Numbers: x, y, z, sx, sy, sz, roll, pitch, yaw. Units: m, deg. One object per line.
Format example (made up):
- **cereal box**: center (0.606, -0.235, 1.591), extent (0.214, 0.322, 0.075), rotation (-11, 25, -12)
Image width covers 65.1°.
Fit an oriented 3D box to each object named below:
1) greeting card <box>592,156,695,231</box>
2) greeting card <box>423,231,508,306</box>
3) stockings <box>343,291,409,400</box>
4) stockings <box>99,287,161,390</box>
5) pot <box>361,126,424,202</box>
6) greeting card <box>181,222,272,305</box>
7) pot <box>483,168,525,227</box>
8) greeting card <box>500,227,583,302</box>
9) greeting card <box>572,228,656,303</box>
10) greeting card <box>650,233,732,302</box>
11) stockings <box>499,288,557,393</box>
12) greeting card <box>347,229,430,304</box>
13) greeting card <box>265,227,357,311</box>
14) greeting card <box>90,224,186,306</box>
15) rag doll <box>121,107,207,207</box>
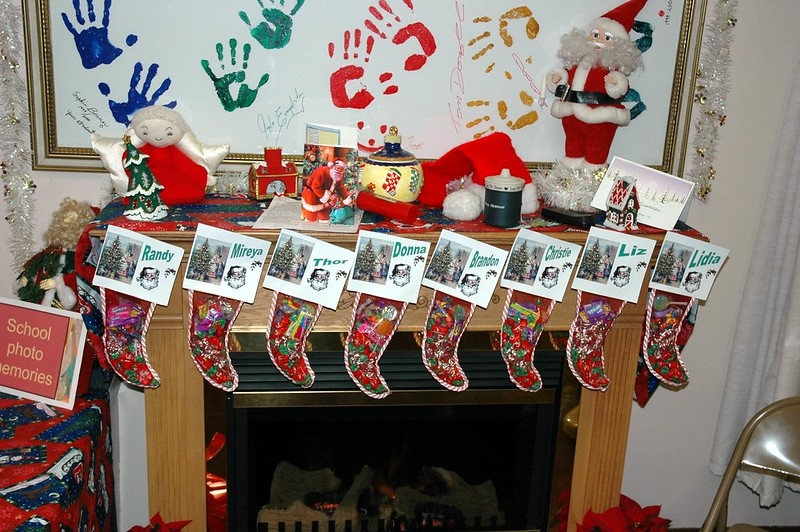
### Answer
- **greeting card**: center (0.836, -0.214, 2.125), extent (0.326, 0.218, 0.014), rotation (10, -4, -22)
- **greeting card**: center (0.212, -0.003, 2.054), extent (0.213, 0.176, 0.018), rotation (16, 14, -17)
- **stockings**: center (-0.087, 0.265, 2.106), extent (0.192, 0.326, 0.094), rotation (3, -1, -6)
- **stockings**: center (-0.872, 0.244, 2.048), extent (0.207, 0.030, 0.374), rotation (8, 42, -31)
- **pot**: center (-0.045, -0.356, 2.225), extent (0.221, 0.288, 0.221), rotation (10, 3, -1)
- **greeting card**: center (-0.556, -0.019, 1.997), extent (0.235, 0.215, 0.019), rotation (12, 13, -17)
- **pot**: center (0.351, -0.233, 2.110), extent (0.137, 0.191, 0.141), rotation (1, 18, 0)
- **greeting card**: center (0.467, -0.017, 2.078), extent (0.231, 0.197, 0.019), rotation (10, 22, -9)
- **greeting card**: center (0.710, -0.012, 2.106), extent (0.261, 0.246, 0.012), rotation (0, 16, -5)
- **greeting card**: center (0.985, 0.003, 2.143), extent (0.010, 0.197, 0.239), rotation (9, 6, -36)
- **stockings**: center (0.432, 0.253, 2.145), extent (0.181, 0.296, 0.116), rotation (3, -1, 9)
- **greeting card**: center (-0.039, -0.011, 2.033), extent (0.221, 0.189, 0.019), rotation (9, 14, -11)
- **greeting card**: center (-0.288, -0.003, 2.019), extent (0.232, 0.192, 0.018), rotation (16, 8, -15)
- **greeting card**: center (-0.830, -0.014, 1.978), extent (0.221, 0.184, 0.017), rotation (17, 7, -16)
- **rag doll**: center (-0.802, -0.356, 2.117), extent (0.322, 0.317, 0.184), rotation (-1, 28, -9)
